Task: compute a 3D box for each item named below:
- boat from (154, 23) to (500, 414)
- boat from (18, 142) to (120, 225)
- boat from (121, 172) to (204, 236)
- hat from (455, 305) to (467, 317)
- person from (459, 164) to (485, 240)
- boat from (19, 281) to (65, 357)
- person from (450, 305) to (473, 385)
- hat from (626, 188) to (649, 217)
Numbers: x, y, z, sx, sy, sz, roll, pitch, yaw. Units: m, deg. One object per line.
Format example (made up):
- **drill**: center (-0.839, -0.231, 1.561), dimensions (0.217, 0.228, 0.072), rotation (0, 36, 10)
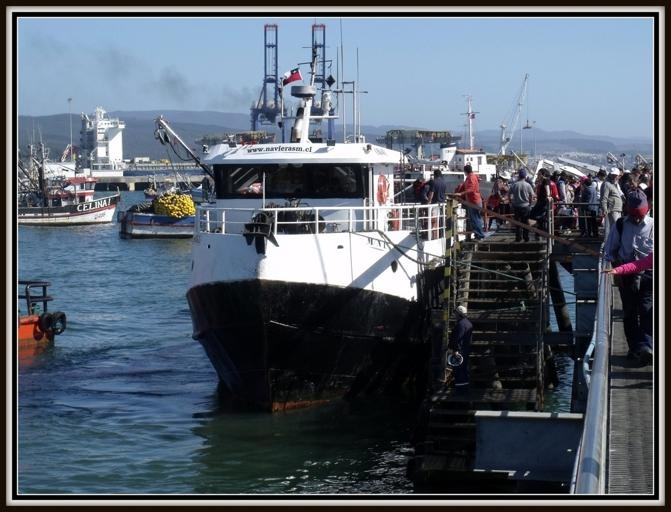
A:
- **boat**: center (-0.533, -0.520, 22.324), dimensions (4.469, 6.845, 4.457), rotation (-2, 6, 0)
- **boat**: center (-18.407, -4.624, 76.320), dimensions (8.700, 5.218, 2.980), rotation (-3, 21, 17)
- **boat**: center (-10.221, -3.802, 67.672), dimensions (5.274, 4.173, 9.802), rotation (1, -2, -4)
- **hat**: center (2.197, 0.956, 20.766), dimensions (0.178, 0.202, 0.161), rotation (2, -4, 38)
- **person**: center (2.819, -1.165, 24.868), dimensions (0.473, 1.631, 0.703), rotation (-7, 3, 21)
- **boat**: center (-7.608, 1.492, 30.372), dimensions (0.996, 1.279, 1.747), rotation (-8, 2, -5)
- **person**: center (2.202, 1.589, 20.752), dimensions (0.344, 1.408, 0.858), rotation (-1, 6, 6)
- **hat**: center (4.234, -0.761, 16.573), dimensions (0.278, 0.368, 0.410), rotation (-3, -6, 12)
